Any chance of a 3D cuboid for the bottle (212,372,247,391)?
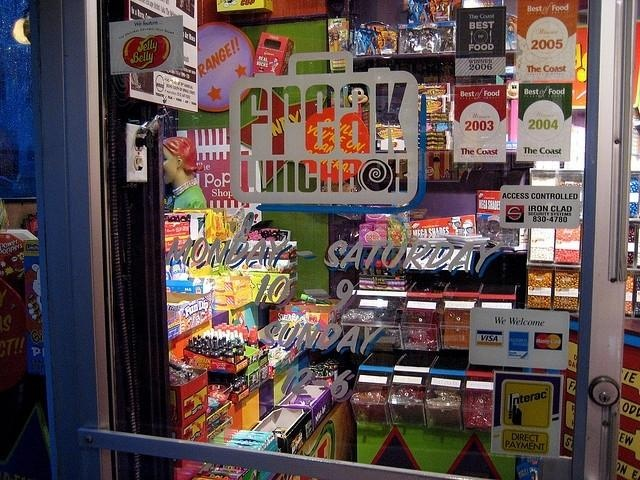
[{"bbox_3d":[-0.332,0.501,2.289,0.100,0.068,0.104,4,5,0],"label":"bottle"}]
